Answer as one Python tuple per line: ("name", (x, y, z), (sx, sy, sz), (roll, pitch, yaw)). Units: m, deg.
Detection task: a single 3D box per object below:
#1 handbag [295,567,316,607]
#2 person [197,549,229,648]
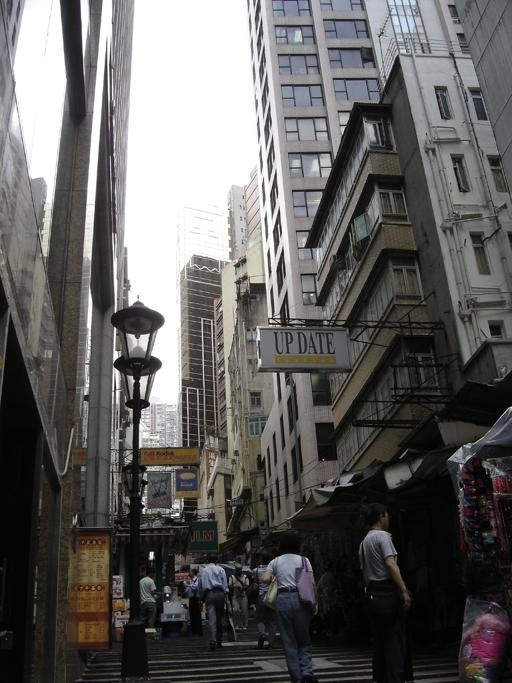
("handbag", (0.483, 2.510, 5.632), (0.086, 0.393, 0.225), (-37, -57, 25))
("person", (-0.822, 5.181, 10.934), (0.537, 1.761, 1.318), (-1, -20, -5))
